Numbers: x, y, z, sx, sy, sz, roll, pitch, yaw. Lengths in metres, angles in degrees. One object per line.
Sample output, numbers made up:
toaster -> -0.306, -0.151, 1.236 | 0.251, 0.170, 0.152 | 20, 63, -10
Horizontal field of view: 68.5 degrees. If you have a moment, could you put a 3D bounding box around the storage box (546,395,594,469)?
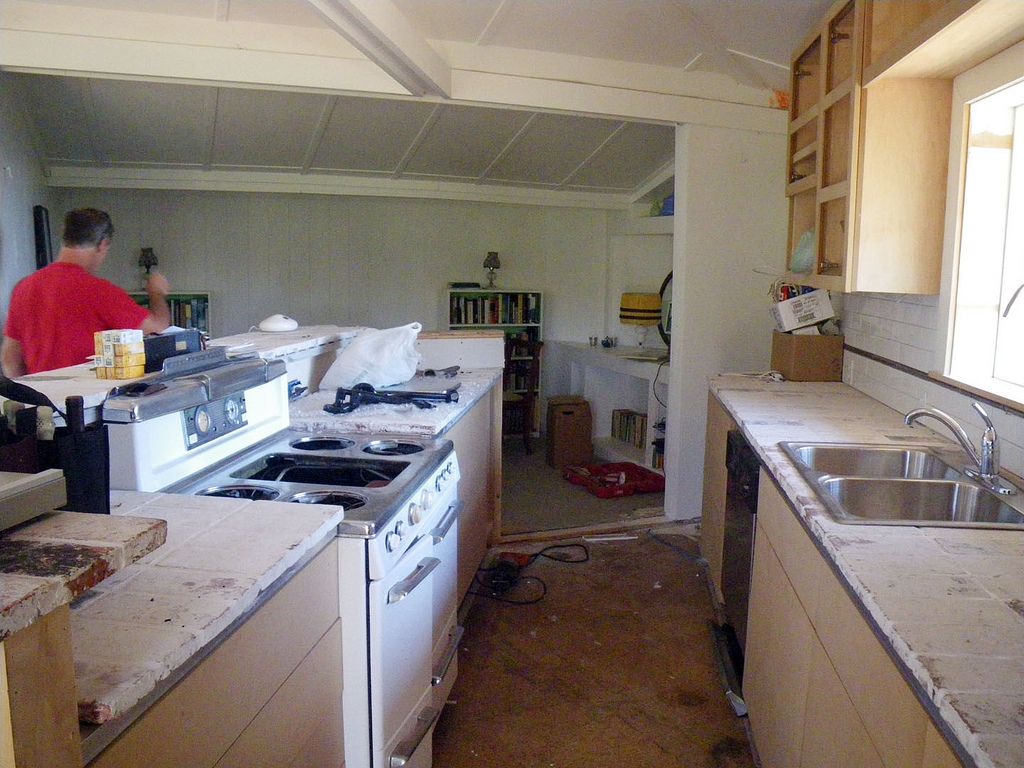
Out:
storage box -> 0.491, 0.403, 6.268 | 0.391, 0.512, 0.448 | -3, 12, -13

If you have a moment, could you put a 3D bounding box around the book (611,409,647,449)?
book -> 1.035, 0.386, 6.523 | 0.220, 0.272, 0.646 | -2, 12, -7

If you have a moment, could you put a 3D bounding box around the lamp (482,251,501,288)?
lamp -> -0.188, -1.112, 7.251 | 0.196, 0.347, 0.359 | -1, 12, -2

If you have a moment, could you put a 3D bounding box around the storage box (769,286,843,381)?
storage box -> 1.470, -0.253, 3.746 | 0.337, 0.444, 0.342 | 4, 12, 18
